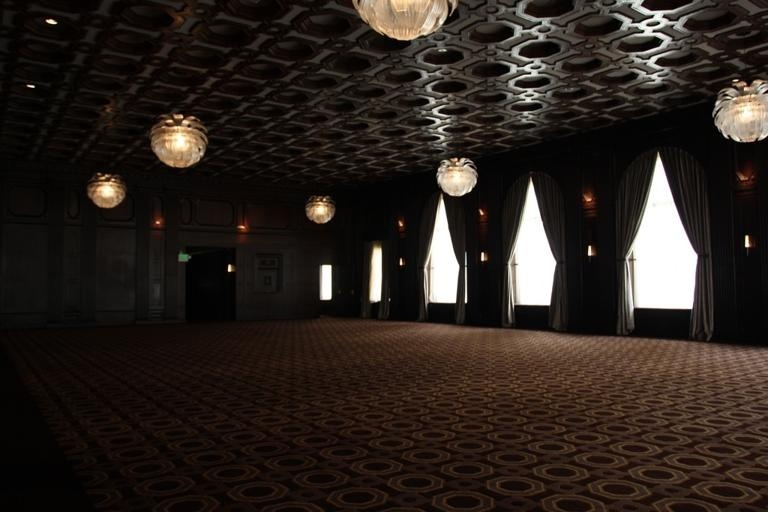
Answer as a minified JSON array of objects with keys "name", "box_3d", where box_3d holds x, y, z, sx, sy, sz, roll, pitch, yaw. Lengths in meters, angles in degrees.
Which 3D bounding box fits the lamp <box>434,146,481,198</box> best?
[{"name":"lamp","box_3d":[1.837,-1.919,12.135,0.816,0.888,0.832,1,8,41]}]

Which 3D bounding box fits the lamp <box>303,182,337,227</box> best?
[{"name":"lamp","box_3d":[-2.110,-1.496,16.298,0.994,0.883,0.999,1,3,14]}]
